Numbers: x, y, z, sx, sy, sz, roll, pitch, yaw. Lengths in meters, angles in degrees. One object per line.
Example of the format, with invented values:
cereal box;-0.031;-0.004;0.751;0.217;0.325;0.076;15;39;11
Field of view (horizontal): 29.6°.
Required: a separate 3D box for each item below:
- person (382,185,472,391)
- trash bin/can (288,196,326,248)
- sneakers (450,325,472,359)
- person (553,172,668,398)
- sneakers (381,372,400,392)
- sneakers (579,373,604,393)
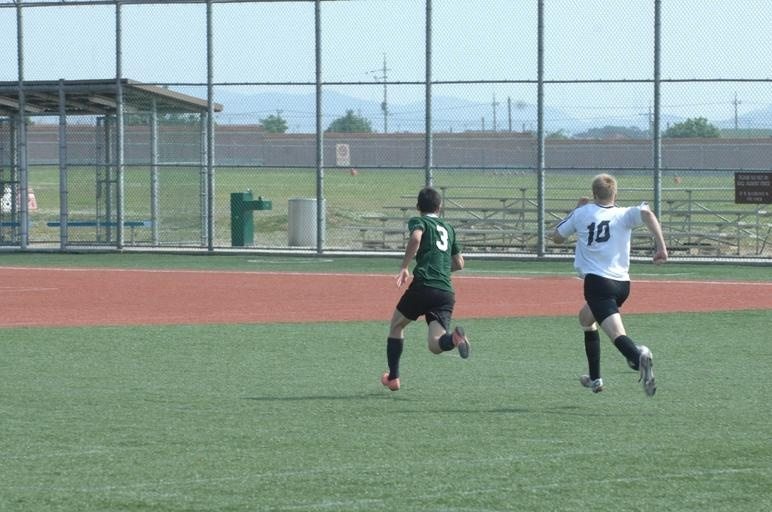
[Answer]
person;0.632;0.492;21.706;1.335;2.999;1.192;0;3;11
trash bin/can;-1.692;-0.828;36.161;1.340;1.175;1.199;0;1;-18
sneakers;1.084;1.257;21.187;0.234;0.462;0.254;0;3;5
person;3.386;0.416;21.340;1.652;3.240;0.998;2;4;41
sneakers;0.052;1.868;21.619;0.146;0.165;0.393;0;8;-23
sneakers;3.032;1.889;21.556;0.176;0.179;0.442;-3;9;-22
